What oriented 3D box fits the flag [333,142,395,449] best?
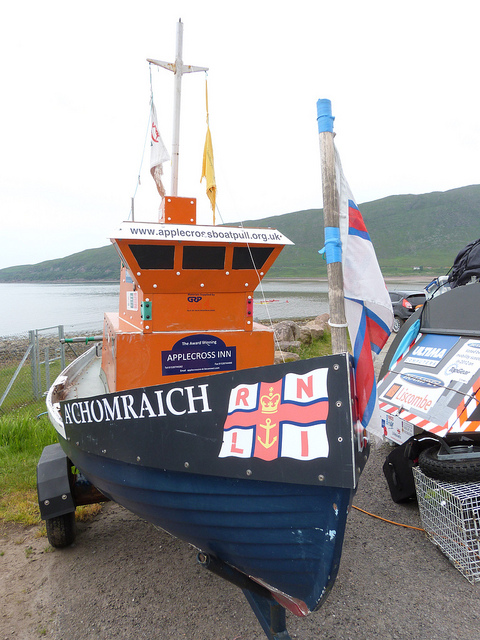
[{"bbox_3d":[0.786,-0.069,3.037,0.317,2.053,0.920,-2,11,18],"label":"flag"}]

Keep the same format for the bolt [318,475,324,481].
[{"bbox_3d":[0.438,0.856,2.628,0.030,0.034,0.007,-2,-8,31],"label":"bolt"}]

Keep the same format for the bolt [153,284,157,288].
[{"bbox_3d":[-0.871,-0.347,4.879,0.028,0.031,0.007,0,3,-27],"label":"bolt"}]

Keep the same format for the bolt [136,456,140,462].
[{"bbox_3d":[-0.691,0.934,3.255,0.028,0.044,0.010,5,2,19],"label":"bolt"}]

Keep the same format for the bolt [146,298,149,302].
[{"bbox_3d":[-0.953,-0.206,4.908,0.026,0.029,0.006,2,-2,-2],"label":"bolt"}]

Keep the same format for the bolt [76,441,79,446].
[{"bbox_3d":[-1.307,0.988,3.866,0.006,0.027,0.026,3,-4,-40],"label":"bolt"}]

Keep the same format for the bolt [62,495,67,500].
[{"bbox_3d":[-1.495,1.492,4.083,0.036,0.042,0.011,-1,-3,-9],"label":"bolt"}]

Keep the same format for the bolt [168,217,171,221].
[{"bbox_3d":[-0.763,-1.079,5.135,0.026,0.029,0.006,-2,2,-29],"label":"bolt"}]

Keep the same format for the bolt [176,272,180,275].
[{"bbox_3d":[-0.638,-0.475,4.875,0.028,0.032,0.007,1,4,-13],"label":"bolt"}]

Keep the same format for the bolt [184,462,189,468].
[{"bbox_3d":[-0.337,0.903,3.013,0.026,0.026,0.006,-42,-10,14],"label":"bolt"}]

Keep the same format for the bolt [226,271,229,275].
[{"bbox_3d":[-0.145,-0.498,5.089,0.027,0.031,0.007,-6,11,-15],"label":"bolt"}]
